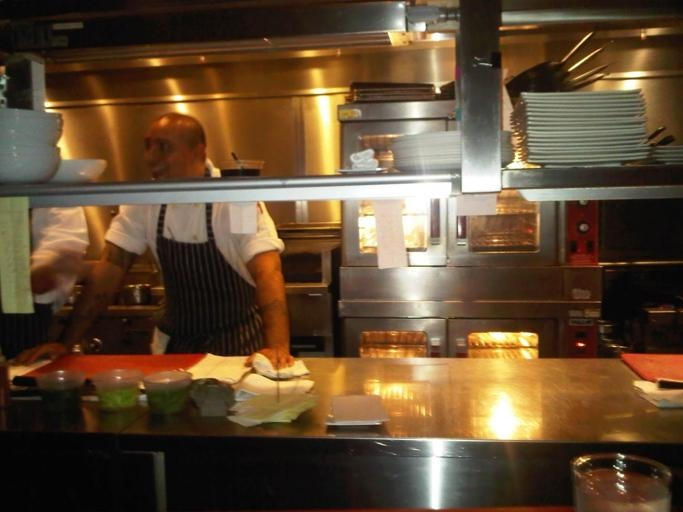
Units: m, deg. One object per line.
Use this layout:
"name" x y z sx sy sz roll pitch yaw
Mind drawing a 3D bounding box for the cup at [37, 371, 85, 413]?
"cup" -1.002 0.482 2.414 0.141 0.122 0.134 -1 3 0

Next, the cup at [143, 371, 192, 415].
"cup" -0.607 0.500 2.385 0.192 0.106 0.158 -4 -12 10

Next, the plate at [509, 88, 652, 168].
"plate" 0.722 -0.377 2.019 0.351 0.140 0.260 -1 11 3

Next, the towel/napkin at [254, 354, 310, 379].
"towel/napkin" -0.240 0.427 2.583 0.166 0.047 0.109 2 2 -17

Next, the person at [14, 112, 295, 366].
"person" -0.670 -0.102 3.108 1.146 1.143 0.714 0 3 18

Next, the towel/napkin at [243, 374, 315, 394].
"towel/napkin" -0.250 0.470 2.433 0.168 0.035 0.101 0 -2 -12

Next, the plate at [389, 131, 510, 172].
"plate" 0.261 -0.311 2.048 0.199 0.130 0.101 -1 3 1

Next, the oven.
"oven" 0.573 0.084 4.396 1.766 1.853 0.844 2 1 -18

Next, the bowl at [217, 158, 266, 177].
"bowl" -0.354 -0.307 2.413 0.132 0.064 0.269 -2 3 -20

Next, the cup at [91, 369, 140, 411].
"cup" -0.811 0.479 2.421 0.173 0.117 0.156 -2 3 -21
